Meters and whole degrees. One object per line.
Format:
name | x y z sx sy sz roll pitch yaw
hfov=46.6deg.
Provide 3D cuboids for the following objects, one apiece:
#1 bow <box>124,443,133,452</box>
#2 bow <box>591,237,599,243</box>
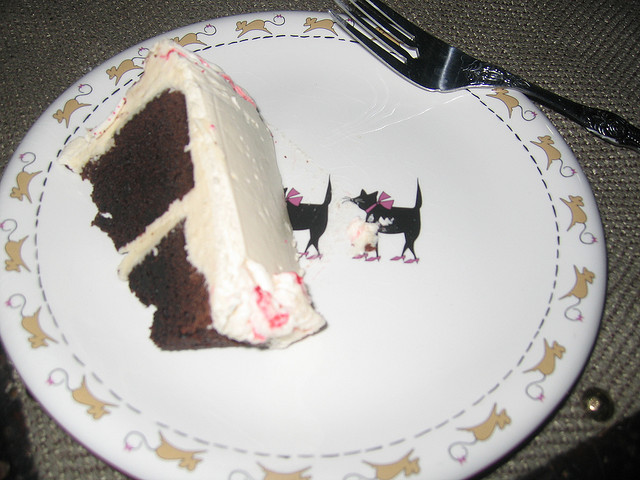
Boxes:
bow | -0.592 0.639 2.287 0.018 0.006 0.022 1 85 -1
bow | 0.909 0.001 2.452 0.019 0.006 0.022 10 74 24
